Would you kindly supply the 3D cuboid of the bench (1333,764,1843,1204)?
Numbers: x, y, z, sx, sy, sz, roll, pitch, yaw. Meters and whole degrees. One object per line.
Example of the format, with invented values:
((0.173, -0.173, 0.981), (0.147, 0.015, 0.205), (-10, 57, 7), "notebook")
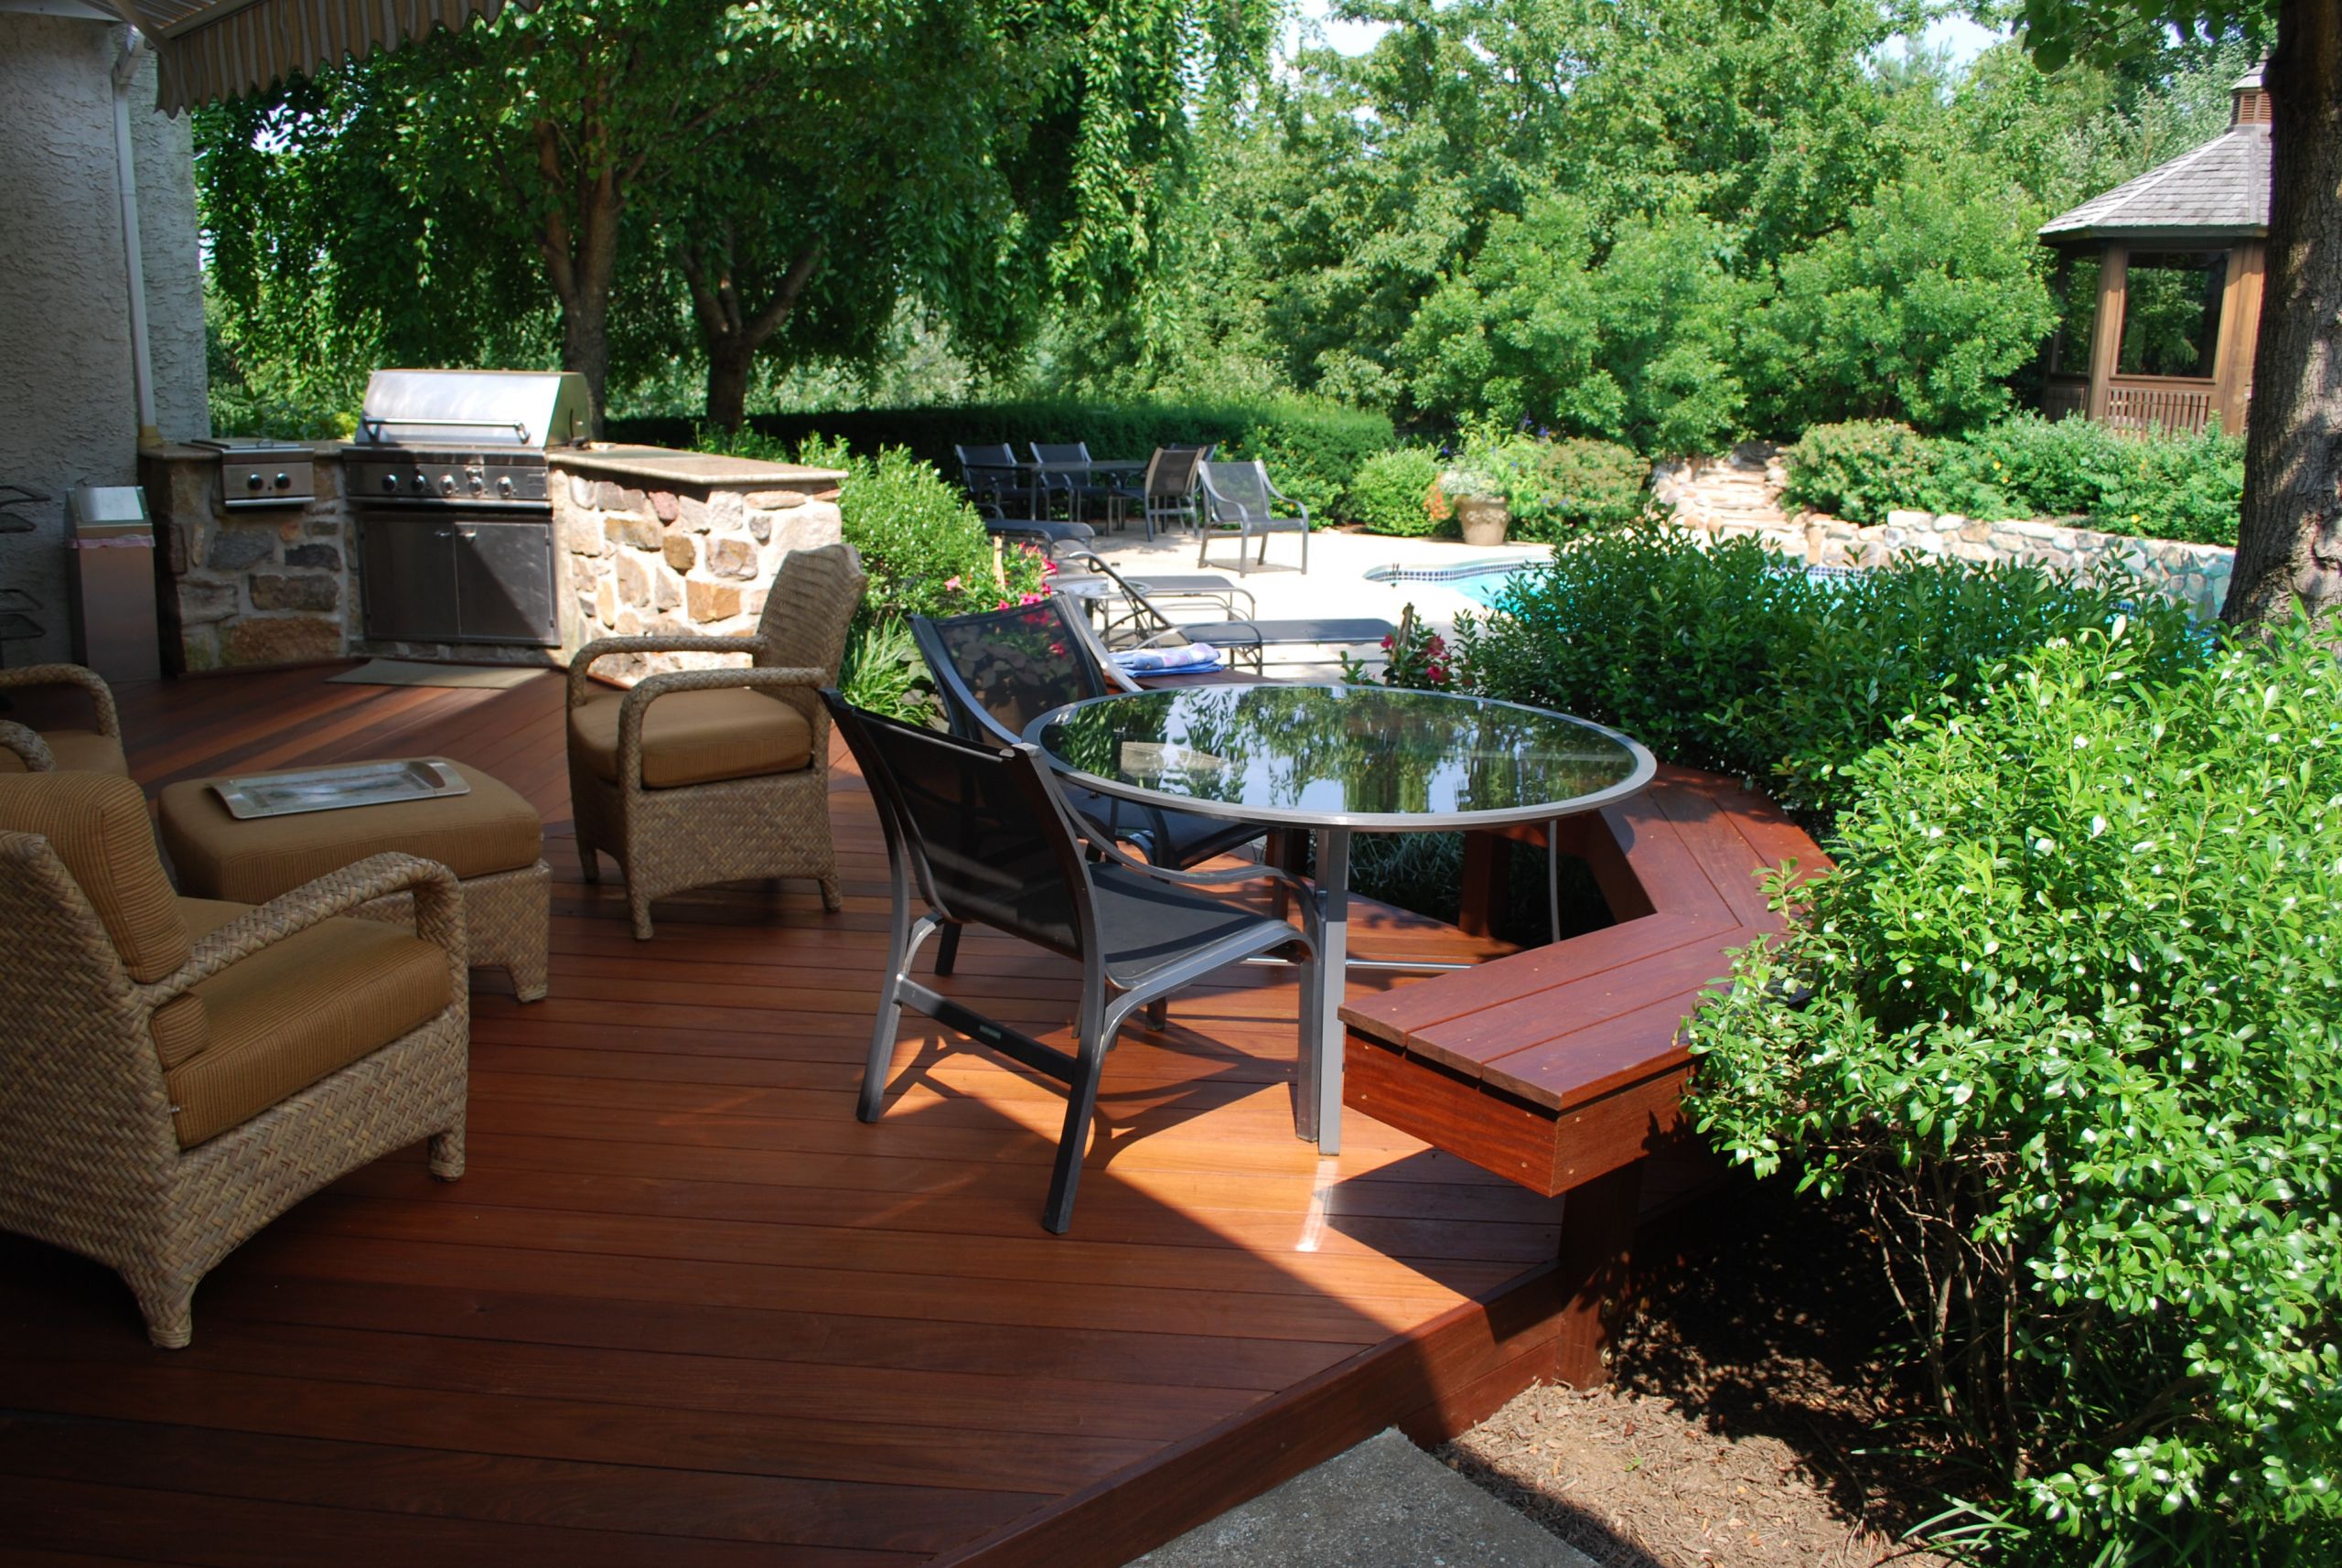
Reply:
((1.002, 0.649, 4.308), (1.168, 0.325, 1.918), (17, 10, 13), "bench")

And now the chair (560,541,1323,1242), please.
((-0.732, 0.338, 4.877), (1.952, 0.896, 0.748), (29, 37, 35), "chair")

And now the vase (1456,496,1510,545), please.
((3.493, -2.922, 18.828), (0.561, 0.521, 0.518), (0, 14, 9), "vase")

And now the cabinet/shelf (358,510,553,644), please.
((-3.796, -1.028, 8.862), (0.995, 0.693, 0.569), (-2, 5, -32), "cabinet/shelf")

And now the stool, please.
((-2.277, 0.170, 4.723), (0.730, 0.477, 0.711), (-8, 17, -37), "stool")

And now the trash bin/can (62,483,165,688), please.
((-5.226, -0.966, 8.246), (0.454, 0.993, 0.443), (3, 23, -20), "trash bin/can")
